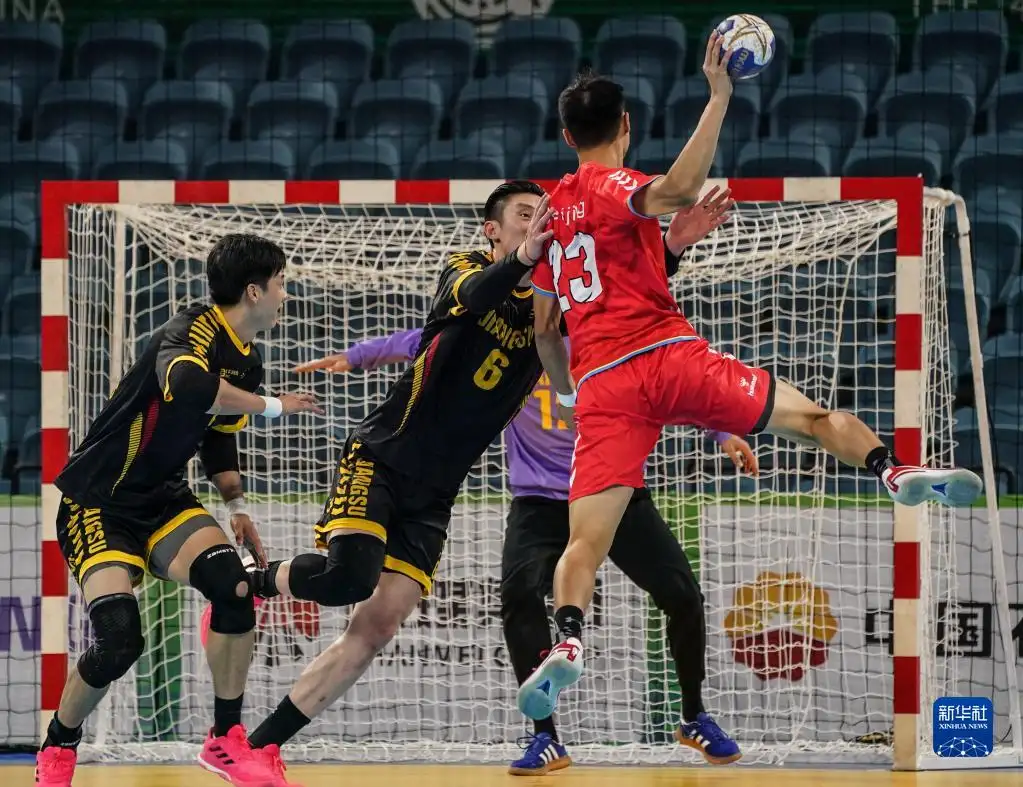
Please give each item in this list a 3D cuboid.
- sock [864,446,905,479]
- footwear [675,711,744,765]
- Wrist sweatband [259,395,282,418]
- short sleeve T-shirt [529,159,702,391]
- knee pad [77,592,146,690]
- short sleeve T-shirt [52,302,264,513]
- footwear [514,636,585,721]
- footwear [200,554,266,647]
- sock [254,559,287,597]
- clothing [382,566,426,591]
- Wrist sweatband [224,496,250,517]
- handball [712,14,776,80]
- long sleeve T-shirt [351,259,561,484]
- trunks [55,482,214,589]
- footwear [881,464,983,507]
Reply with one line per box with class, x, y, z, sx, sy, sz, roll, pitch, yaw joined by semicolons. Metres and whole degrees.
sock;2.205;0.410;10.385;0.178;0.203;0.157;45;19;24
footwear;1.260;2.282;11.325;0.471;0.234;0.235;29;48;27
Wrist sweatband;-1.550;0.084;10.991;0.104;0.140;0.115;5;-7;-6
short sleeve T-shirt;0.595;-0.696;10.572;0.745;1.236;1.208;-7;-10;-33
knee pad;-2.497;1.531;10.717;0.379;0.595;0.182;6;-8;-6
short sleeve T-shirt;-2.194;0.070;10.841;1.149;1.323;0.480;7;-8;-12
footwear;0.248;1.694;10.293;0.270;0.567;0.240;40;7;-5
footwear;-1.855;1.272;11.207;0.522;0.703;0.292;0;-14;-10
sock;-1.540;1.168;10.879;0.166;0.124;0.216;5;-16;-41
clothing;-0.672;1.220;11.076;0.182;0.066;0.162;23;2;-33
Wrist sweatband;-1.816;0.743;11.353;0.152;0.165;0.163;-2;2;36
handball;1.382;-2.099;10.384;0.367;0.381;0.360;11;14;-2
long sleeve T-shirt;-0.347;-0.142;11.293;1.047;1.556;0.898;14;-19;47
trunks;-2.376;0.884;10.839;0.565;0.507;0.288;-16;-17;-32
footwear;2.455;0.519;10.315;0.596;0.247;0.274;6;13;3
